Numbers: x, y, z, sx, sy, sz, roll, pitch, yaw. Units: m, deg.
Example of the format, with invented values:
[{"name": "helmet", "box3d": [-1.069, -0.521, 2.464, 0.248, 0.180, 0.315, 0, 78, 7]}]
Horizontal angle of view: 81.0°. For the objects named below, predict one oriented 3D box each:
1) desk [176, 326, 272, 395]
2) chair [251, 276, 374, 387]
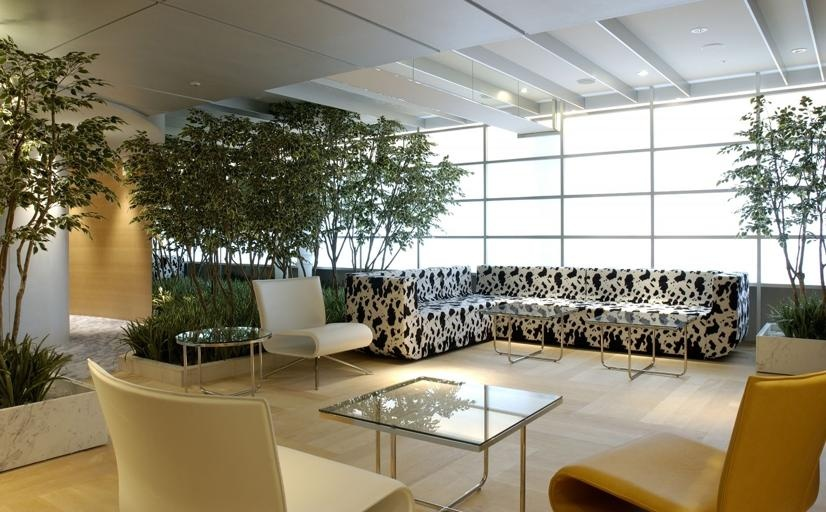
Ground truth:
[{"name": "desk", "box3d": [-2.073, 0.949, 5.257, 0.974, 0.666, 0.963, 0, -6, -11]}, {"name": "chair", "box3d": [-1.224, 0.836, 5.861, 1.318, 1.420, 1.156, -3, -2, 39]}]
